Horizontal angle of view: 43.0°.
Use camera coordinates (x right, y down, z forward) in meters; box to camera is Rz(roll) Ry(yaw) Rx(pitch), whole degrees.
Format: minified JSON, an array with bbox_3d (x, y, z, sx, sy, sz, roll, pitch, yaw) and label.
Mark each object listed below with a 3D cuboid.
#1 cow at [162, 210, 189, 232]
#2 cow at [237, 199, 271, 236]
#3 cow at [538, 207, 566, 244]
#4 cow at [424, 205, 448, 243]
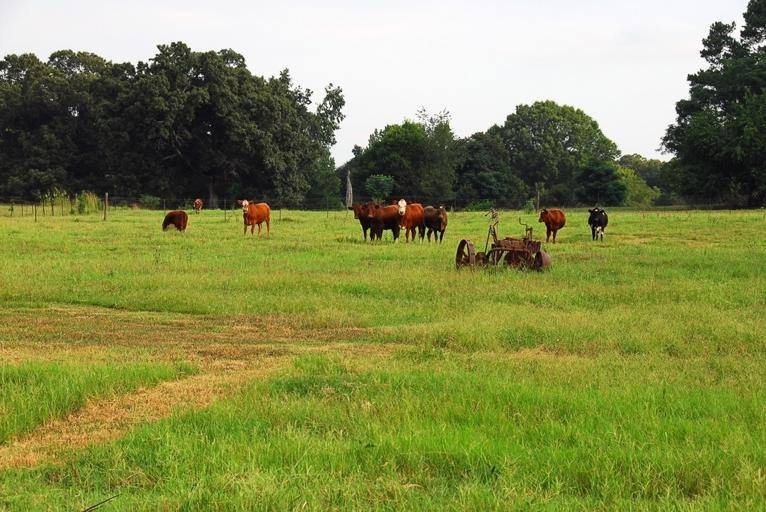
[{"bbox_3d":[-11.643,-2.033,54.639,1.204,1.018,1.104,-1,12,-5],"label":"cow"},{"bbox_3d":[-7.325,-2.117,55.347,0.889,2.085,3.156,4,4,20],"label":"cow"},{"bbox_3d":[9.361,-1.647,53.232,0.864,1.850,2.814,2,1,40],"label":"cow"},{"bbox_3d":[2.920,-1.830,53.881,0.953,2.055,3.181,-5,8,-20],"label":"cow"}]
